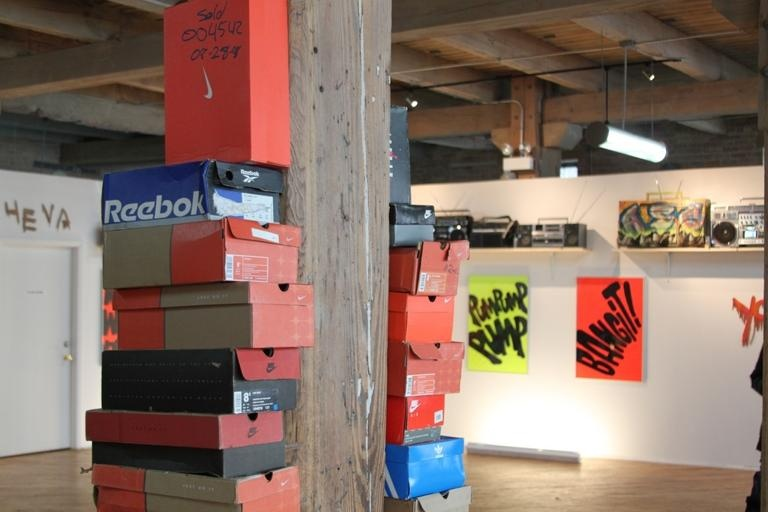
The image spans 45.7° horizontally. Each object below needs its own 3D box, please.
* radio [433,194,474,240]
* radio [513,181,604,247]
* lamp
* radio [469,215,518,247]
[{"bbox_3d":[0.779,-0.387,10.590,0.496,0.486,0.289,-2,-10,-5],"label":"radio"},{"bbox_3d":[1.828,-0.437,9.997,1.080,0.637,0.233,-3,0,40],"label":"radio"},{"bbox_3d":[2.771,-1.736,10.391,0.796,1.274,1.772,0,3,18],"label":"lamp"},{"bbox_3d":[1.231,-0.276,10.288,0.531,0.343,0.204,0,3,9],"label":"radio"}]
